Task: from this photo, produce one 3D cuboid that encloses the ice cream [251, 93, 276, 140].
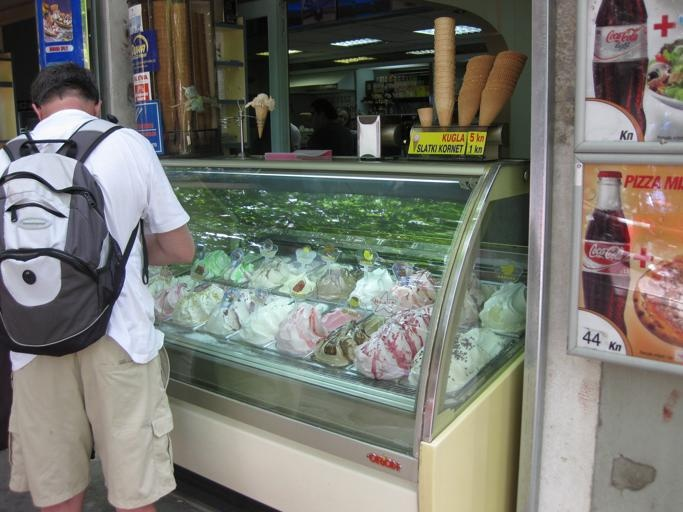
[{"bbox_3d":[-0.405,-0.707,2.385,0.139,0.184,0.122,-10,23,-39],"label":"ice cream"}]
